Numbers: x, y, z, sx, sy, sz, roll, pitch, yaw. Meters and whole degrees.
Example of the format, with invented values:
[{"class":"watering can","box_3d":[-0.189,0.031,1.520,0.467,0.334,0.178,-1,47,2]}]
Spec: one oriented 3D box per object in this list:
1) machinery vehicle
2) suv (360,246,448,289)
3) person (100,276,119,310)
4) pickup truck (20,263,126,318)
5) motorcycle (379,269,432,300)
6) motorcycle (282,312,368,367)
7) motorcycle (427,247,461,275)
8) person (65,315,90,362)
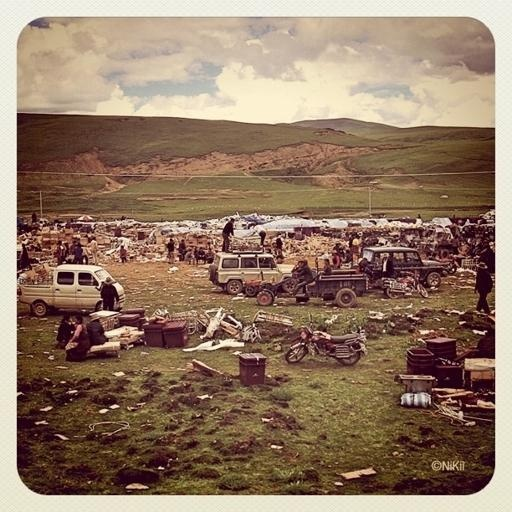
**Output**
[{"class":"machinery vehicle","box_3d":[2.276,1.243,20.939,4.833,1.512,2.033,1,0,-1]},{"class":"suv","box_3d":[7.113,0.413,23.212,3.769,1.389,1.718,-1,18,11]},{"class":"person","box_3d":[-5.374,1.490,18.043,0.602,1.250,1.093,-4,10,-15]},{"class":"pickup truck","box_3d":[-7.409,1.314,19.663,4.117,1.454,2.005,-1,2,0]},{"class":"motorcycle","box_3d":[6.716,1.358,22.198,2.072,0.870,1.038,-2,-2,-13]},{"class":"motorcycle","box_3d":[2.167,2.679,15.274,2.580,1.086,1.171,1,6,5]},{"class":"motorcycle","box_3d":[11.336,0.265,29.068,2.997,1.423,1.575,-6,2,-11]},{"class":"person","box_3d":[-5.490,2.502,14.989,0.839,1.318,0.639,-10,14,-43]}]
